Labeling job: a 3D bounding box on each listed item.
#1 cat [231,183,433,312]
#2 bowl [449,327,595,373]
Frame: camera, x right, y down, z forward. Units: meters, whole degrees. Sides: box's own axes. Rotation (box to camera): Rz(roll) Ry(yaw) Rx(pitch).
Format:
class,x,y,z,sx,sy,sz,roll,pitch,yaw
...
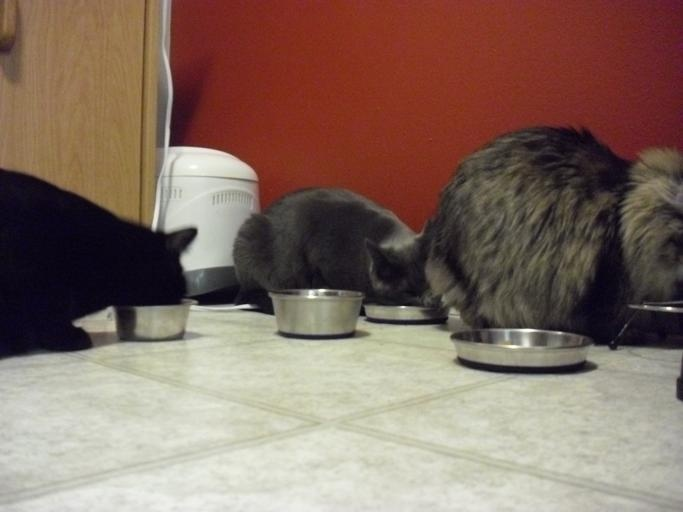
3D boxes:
class,x,y,z,sx,sy,sz,roll,pitch,yaw
cat,-0.065,-0.024,3.539,0.834,0.423,0.539,19,16,39
bowl,0.594,0.301,2.483,0.455,0.095,0.301,1,9,5
